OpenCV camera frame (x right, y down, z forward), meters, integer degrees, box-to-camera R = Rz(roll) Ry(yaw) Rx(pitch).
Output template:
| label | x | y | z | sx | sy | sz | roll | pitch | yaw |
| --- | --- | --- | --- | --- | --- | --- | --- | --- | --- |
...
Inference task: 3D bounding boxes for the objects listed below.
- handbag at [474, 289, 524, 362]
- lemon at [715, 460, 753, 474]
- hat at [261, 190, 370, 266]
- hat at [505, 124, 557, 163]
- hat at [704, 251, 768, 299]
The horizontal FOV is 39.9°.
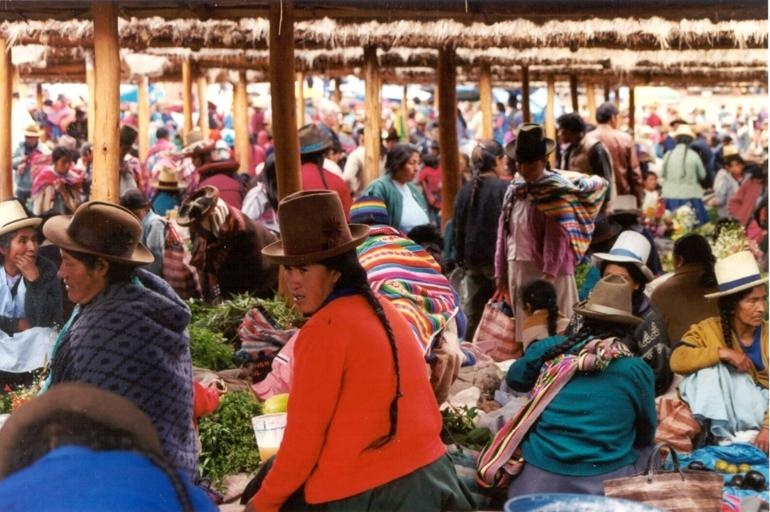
| label | x | y | z | sx | sy | sz | roll | pitch | yaw |
| --- | --- | --- | --- | --- | --- | --- | --- | --- | --- |
| handbag | 1.274 | 0.790 | 11.663 | 0.306 | 0.729 | 0.570 | -6 | 21 | -35 |
| lemon | 3.100 | 1.896 | 9.427 | 0.278 | 0.114 | 0.118 | -5 | 13 | -16 |
| hat | -0.530 | -0.243 | 8.032 | 1.162 | 0.508 | 0.426 | 4 | 7 | 27 |
| hat | 1.610 | -1.210 | 11.223 | 0.582 | 0.415 | 0.339 | -3 | 5 | -40 |
| hat | 3.279 | 0.184 | 9.960 | 0.482 | 0.285 | 0.442 | -18 | 1 | 41 |
